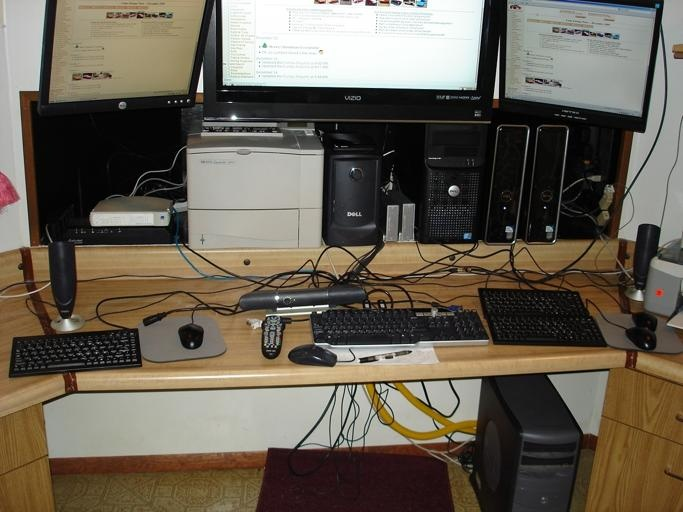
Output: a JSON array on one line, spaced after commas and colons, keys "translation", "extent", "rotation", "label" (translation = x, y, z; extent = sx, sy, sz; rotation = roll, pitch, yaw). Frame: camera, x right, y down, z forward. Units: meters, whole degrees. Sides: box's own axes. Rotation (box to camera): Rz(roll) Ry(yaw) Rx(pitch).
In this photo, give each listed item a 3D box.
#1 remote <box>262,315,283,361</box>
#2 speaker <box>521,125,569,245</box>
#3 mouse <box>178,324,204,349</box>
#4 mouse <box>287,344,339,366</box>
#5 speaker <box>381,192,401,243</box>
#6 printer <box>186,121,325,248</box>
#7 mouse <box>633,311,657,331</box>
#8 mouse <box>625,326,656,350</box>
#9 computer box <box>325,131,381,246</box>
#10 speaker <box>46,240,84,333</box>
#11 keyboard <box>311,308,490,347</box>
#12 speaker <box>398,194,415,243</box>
[{"translation": [-0.222, 0.250, 1.824], "extent": [0.073, 0.020, 0.213], "rotation": [4, 30, -6], "label": "remote"}, {"translation": [0.836, -0.281, 2.263], "extent": [0.142, 0.464, 0.157], "rotation": [5, 2, -24], "label": "speaker"}, {"translation": [-0.474, 0.254, 1.805], "extent": [0.076, 0.056, 0.084], "rotation": [-5, 16, -16], "label": "mouse"}, {"translation": [-0.086, 0.304, 1.738], "extent": [0.116, 0.037, 0.066], "rotation": [1, 21, 2], "label": "mouse"}, {"translation": [0.192, -0.144, 2.235], "extent": [0.063, 0.202, 0.176], "rotation": [0, -5, -1], "label": "speaker"}, {"translation": [-0.347, -0.251, 2.195], "extent": [0.490, 0.405, 0.265], "rotation": [-2, 16, -20], "label": "printer"}, {"translation": [1.045, 0.224, 1.966], "extent": [0.055, 0.020, 0.076], "rotation": [-1, 32, 25], "label": "mouse"}, {"translation": [0.983, 0.271, 1.880], "extent": [0.094, 0.059, 0.082], "rotation": [12, 20, 39], "label": "mouse"}, {"translation": [0.034, -0.256, 2.207], "extent": [0.220, 0.416, 0.214], "rotation": [-1, 15, -2], "label": "computer box"}, {"translation": [-0.912, 0.092, 1.866], "extent": [0.098, 0.279, 0.180], "rotation": [-9, 17, -27], "label": "speaker"}, {"translation": [0.187, 0.237, 1.881], "extent": [0.564, 0.088, 0.149], "rotation": [-3, 15, -6], "label": "keyboard"}, {"translation": [0.275, -0.141, 2.314], "extent": [0.055, 0.139, 0.159], "rotation": [2, 4, 9], "label": "speaker"}]
